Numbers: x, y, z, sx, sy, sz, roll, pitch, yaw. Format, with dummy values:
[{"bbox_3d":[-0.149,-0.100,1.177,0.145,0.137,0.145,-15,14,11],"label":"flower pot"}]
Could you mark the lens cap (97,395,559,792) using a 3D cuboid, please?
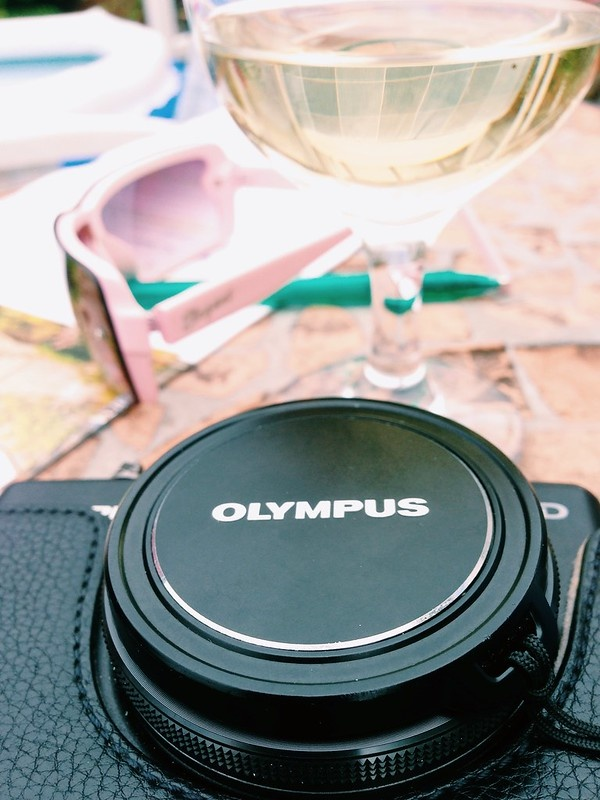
[{"bbox_3d":[0.008,0.052,0.261,0.162,0.039,0.162,-9,46,-5],"label":"lens cap"}]
